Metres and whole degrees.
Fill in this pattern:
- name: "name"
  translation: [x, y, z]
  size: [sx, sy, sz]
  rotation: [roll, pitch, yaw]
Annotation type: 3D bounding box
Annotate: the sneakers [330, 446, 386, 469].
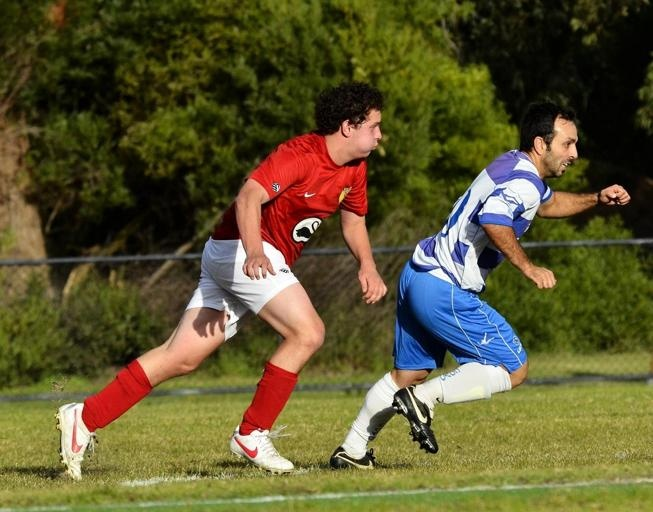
- name: "sneakers"
  translation: [0.243, 1.570, 9.432]
  size: [0.396, 0.218, 0.150]
  rotation: [6, -4, -15]
